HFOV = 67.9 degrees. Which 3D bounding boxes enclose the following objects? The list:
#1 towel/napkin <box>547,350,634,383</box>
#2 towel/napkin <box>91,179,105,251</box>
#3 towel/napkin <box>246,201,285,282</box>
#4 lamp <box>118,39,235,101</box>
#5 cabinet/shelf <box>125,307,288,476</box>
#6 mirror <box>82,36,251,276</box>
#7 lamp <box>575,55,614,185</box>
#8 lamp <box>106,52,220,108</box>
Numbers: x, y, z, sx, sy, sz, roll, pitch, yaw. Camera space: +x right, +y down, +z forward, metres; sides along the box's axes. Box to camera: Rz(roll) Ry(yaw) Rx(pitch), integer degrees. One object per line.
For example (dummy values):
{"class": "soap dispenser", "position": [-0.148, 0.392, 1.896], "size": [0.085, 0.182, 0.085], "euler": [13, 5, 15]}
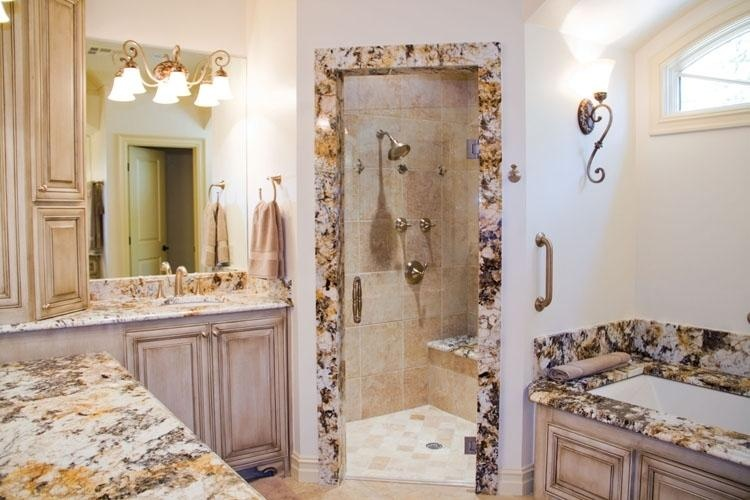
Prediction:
{"class": "towel/napkin", "position": [1.452, 0.760, 3.758], "size": [0.708, 0.107, 0.205], "euler": [-4, 0, -33]}
{"class": "towel/napkin", "position": [-1.942, -0.228, 3.919], "size": [0.094, 0.488, 0.044], "euler": [-3, 6, -27]}
{"class": "towel/napkin", "position": [-0.755, -0.062, 3.943], "size": [0.244, 0.558, 0.185], "euler": [5, 8, 43]}
{"class": "lamp", "position": [-1.470, -1.303, 4.101], "size": [0.789, 0.332, 0.841], "euler": [7, 14, 15]}
{"class": "cabinet/shelf", "position": [-1.041, 0.821, 3.396], "size": [1.088, 1.099, 0.575], "euler": [-2, 2, -24]}
{"class": "mirror", "position": [-1.553, -0.604, 4.138], "size": [0.858, 1.758, 0.647], "euler": [2, 4, -9]}
{"class": "lamp", "position": [1.578, -0.870, 3.833], "size": [0.373, 0.818, 0.192], "euler": [-5, 7, -37]}
{"class": "lamp", "position": [-1.466, -1.200, 4.078], "size": [0.533, 0.234, 0.524], "euler": [-4, 23, -40]}
